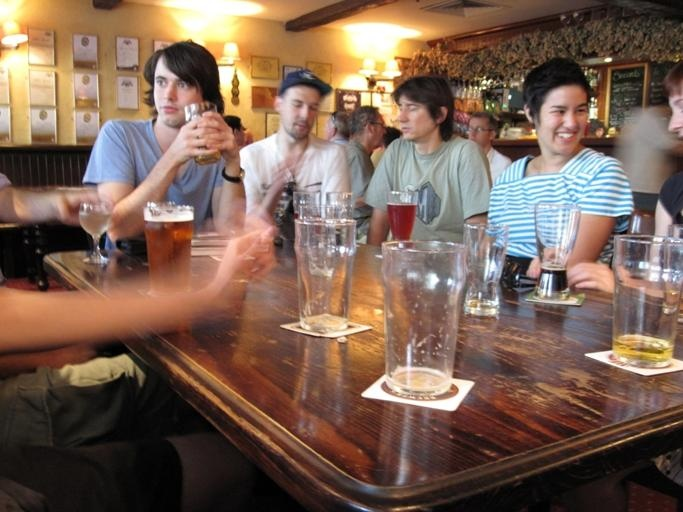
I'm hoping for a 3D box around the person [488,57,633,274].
[{"bbox_3d":[0.901,-0.348,2.233,0.540,0.885,0.630,-8,10,-31],"label":"person"}]

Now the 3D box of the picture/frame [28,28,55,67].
[{"bbox_3d":[-3.955,-2.730,6.659,0.331,0.456,0.043,-8,15,-31],"label":"picture/frame"}]

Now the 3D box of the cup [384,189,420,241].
[{"bbox_3d":[0.224,-0.134,1.826,0.097,0.194,0.254,1,12,7],"label":"cup"}]

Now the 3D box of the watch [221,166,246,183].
[{"bbox_3d":[-0.509,-0.373,2.394,0.085,0.033,0.080,3,3,-44],"label":"watch"}]

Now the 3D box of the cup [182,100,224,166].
[{"bbox_3d":[-0.561,-0.492,2.057,0.125,0.240,0.172,-3,13,-14],"label":"cup"}]

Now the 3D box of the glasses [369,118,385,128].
[{"bbox_3d":[0.333,-1.231,4.697,0.122,0.035,0.119,-5,2,32],"label":"glasses"}]

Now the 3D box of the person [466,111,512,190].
[{"bbox_3d":[1.694,-1.220,5.774,0.417,0.828,0.831,-11,18,-12],"label":"person"}]

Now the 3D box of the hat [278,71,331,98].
[{"bbox_3d":[-0.225,-1.079,3.158,0.332,0.161,0.207,-2,13,-8],"label":"hat"}]
